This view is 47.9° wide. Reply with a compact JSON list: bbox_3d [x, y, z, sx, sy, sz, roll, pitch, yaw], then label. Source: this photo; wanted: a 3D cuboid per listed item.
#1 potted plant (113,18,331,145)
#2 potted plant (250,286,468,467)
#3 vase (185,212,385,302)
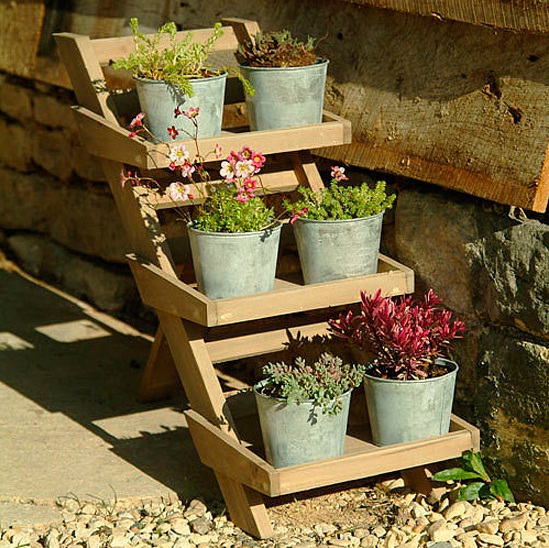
[{"bbox_3d":[-0.159,-0.552,1.757,0.626,0.266,0.268,-13,35,-23],"label":"potted plant"},{"bbox_3d":[0.240,0.272,1.630,0.694,0.378,0.310,-5,4,-16],"label":"potted plant"},{"bbox_3d":[0.043,-0.067,1.784,0.657,0.179,0.217,-3,-3,31],"label":"vase"}]
